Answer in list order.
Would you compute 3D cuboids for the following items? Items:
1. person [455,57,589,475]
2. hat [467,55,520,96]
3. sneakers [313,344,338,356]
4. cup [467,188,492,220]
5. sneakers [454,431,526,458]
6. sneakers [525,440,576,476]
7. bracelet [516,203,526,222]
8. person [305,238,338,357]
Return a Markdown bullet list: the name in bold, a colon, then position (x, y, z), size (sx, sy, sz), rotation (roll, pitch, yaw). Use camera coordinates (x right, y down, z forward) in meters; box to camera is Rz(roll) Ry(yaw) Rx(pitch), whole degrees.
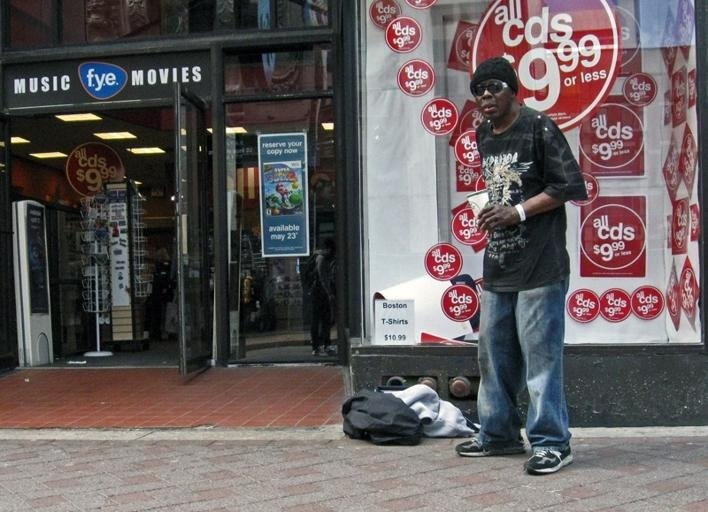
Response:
- **person**: position (1.145, 0.037, 5.502), size (0.758, 2.818, 0.481), rotation (1, 4, 38)
- **hat**: position (0.992, -1.311, 5.579), size (0.272, 0.224, 0.278), rotation (8, -22, 14)
- **sneakers**: position (-0.329, 1.139, 9.453), size (0.325, 0.140, 0.109), rotation (3, -7, -2)
- **cup**: position (0.875, -0.359, 5.543), size (0.137, 0.193, 0.227), rotation (0, 3, 23)
- **sneakers**: position (0.963, 1.373, 5.740), size (0.495, 0.219, 0.174), rotation (1, -4, -2)
- **sneakers**: position (1.306, 1.393, 5.331), size (0.353, 0.156, 0.137), rotation (5, -10, -41)
- **bracelet**: position (1.117, -0.291, 5.423), size (0.069, 0.103, 0.109), rotation (-11, -41, 7)
- **person**: position (-0.378, 0.493, 9.362), size (0.304, 1.389, 0.078), rotation (-2, 3, -7)
